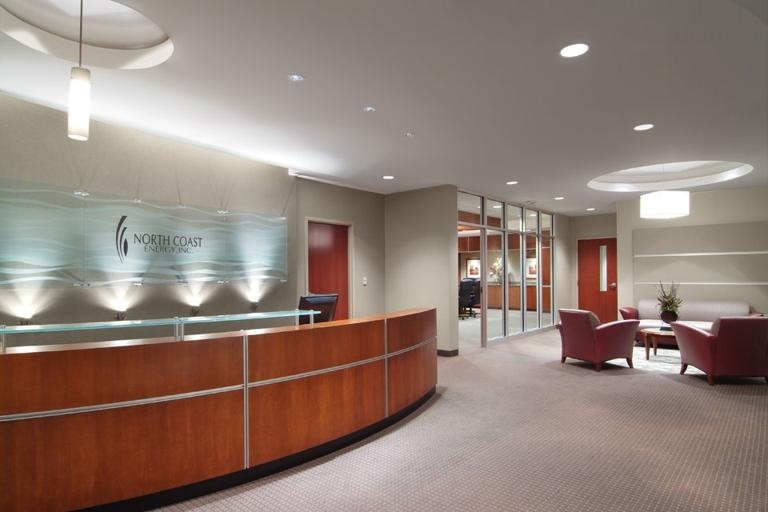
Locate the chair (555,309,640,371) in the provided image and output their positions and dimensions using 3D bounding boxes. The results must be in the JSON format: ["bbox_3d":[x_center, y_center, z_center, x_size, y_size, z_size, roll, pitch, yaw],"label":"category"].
[{"bbox_3d":[3.819,1.481,8.833,0.962,0.967,1.136,-1,-2,-25],"label":"chair"}]

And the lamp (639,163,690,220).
[{"bbox_3d":[5.464,-1.161,9.561,1.075,0.661,1.048,-2,0,-39],"label":"lamp"}]

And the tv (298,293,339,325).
[{"bbox_3d":[-0.839,0.684,6.146,0.415,0.360,0.727,0,9,4],"label":"tv"}]

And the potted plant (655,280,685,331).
[{"bbox_3d":[5.396,0.897,9.250,0.457,0.714,0.396,10,-4,-40],"label":"potted plant"}]
